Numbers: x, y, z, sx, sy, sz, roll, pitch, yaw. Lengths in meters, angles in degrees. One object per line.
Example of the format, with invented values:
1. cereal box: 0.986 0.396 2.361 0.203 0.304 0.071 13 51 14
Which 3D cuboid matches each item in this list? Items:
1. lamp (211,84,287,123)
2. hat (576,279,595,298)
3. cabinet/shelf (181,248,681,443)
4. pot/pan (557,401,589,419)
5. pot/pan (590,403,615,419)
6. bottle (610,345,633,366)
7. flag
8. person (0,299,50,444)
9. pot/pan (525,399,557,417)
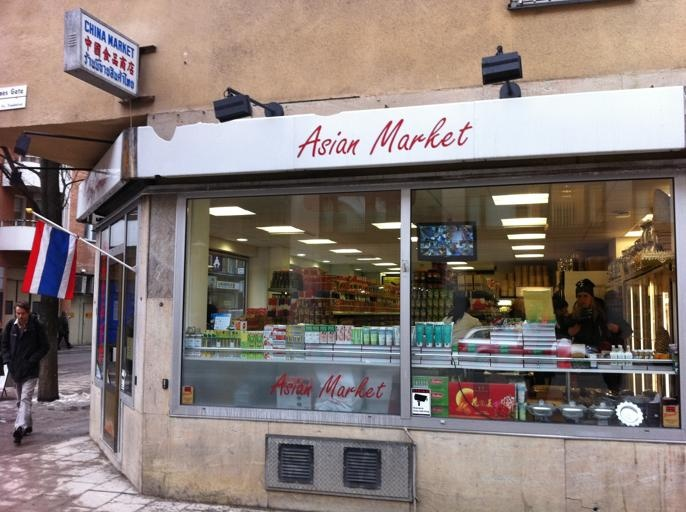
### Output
1. lamp: -1.081 -1.568 7.985 0.375 0.309 0.643 -3 4 32
2. hat: 2.904 0.394 8.928 0.175 0.175 0.214 0 -15 23
3. cabinet/shelf: 0.884 0.988 7.905 4.917 1.618 0.454 -3 -7 13
4. pot/pan: 2.306 1.564 7.441 0.263 0.188 0.092 -3 -7 20
5. pot/pan: 2.580 1.551 7.374 0.190 0.154 0.134 3 -9 12
6. bottle: 2.806 1.021 7.481 0.151 0.180 0.061 1 -23 17
7. flag: -3.453 0.053 8.703 0.468 0.905 0.582 -4 -7 27
8. person: -4.432 1.615 10.310 0.481 1.898 0.659 4 -8 -38
9. pot/pan: 2.003 1.544 7.481 0.201 0.079 0.143 3 -1 -34
